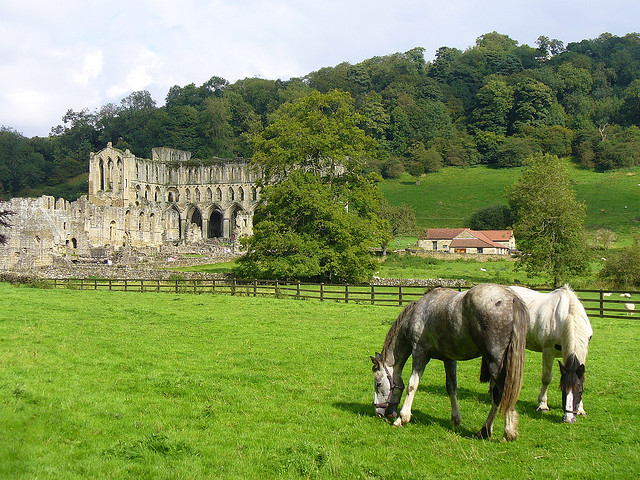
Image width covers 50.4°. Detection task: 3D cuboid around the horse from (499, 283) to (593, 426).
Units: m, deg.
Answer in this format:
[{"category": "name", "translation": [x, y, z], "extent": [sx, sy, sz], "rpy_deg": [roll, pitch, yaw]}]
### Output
[{"category": "horse", "translation": [7.276, 3.291, 21.976], "extent": [1.675, 3.731, 6.478], "rpy_deg": [4, 4, -6]}]

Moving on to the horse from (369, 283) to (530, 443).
[{"category": "horse", "translation": [3.702, 3.559, 19.465], "extent": [1.492, 4.304, 5.383], "rpy_deg": [17, -21, -40]}]
